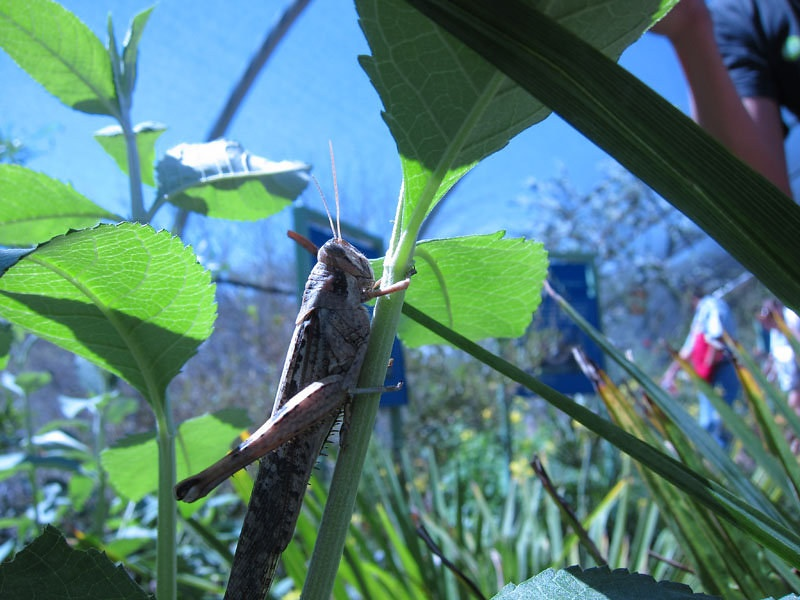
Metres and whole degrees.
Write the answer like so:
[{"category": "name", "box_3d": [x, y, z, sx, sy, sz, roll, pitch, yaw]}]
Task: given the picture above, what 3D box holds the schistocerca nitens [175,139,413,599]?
[{"category": "schistocerca nitens", "box_3d": [-0.161, 0.196, 1.498, 0.346, 0.992, 0.303, 13, -2, -13]}]
